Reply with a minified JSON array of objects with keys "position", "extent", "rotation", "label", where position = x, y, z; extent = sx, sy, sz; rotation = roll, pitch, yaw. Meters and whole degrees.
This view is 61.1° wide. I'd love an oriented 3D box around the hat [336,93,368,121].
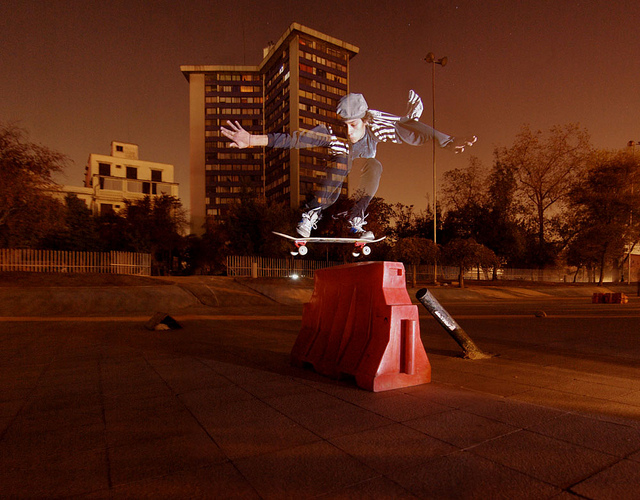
[{"position":[0.483,-2.229,8.493],"extent":[0.474,0.409,0.416],"rotation":[0,2,9],"label":"hat"}]
